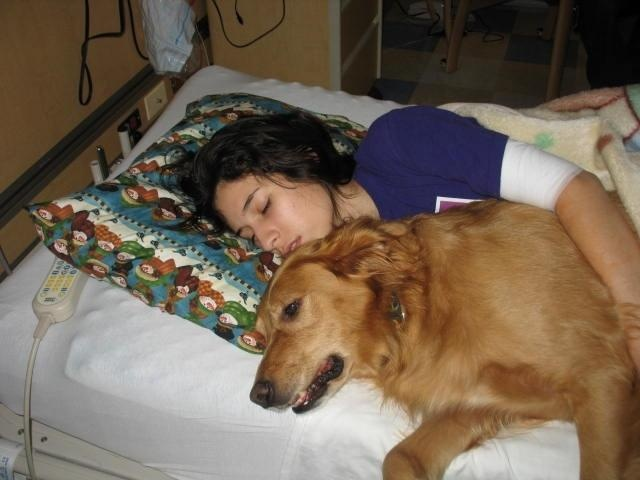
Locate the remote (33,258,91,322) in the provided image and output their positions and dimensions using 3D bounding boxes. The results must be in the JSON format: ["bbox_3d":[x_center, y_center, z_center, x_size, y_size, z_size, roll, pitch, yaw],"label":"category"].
[{"bbox_3d":[-0.841,0.156,1.803,0.105,0.048,0.203,12,47,8],"label":"remote"}]
